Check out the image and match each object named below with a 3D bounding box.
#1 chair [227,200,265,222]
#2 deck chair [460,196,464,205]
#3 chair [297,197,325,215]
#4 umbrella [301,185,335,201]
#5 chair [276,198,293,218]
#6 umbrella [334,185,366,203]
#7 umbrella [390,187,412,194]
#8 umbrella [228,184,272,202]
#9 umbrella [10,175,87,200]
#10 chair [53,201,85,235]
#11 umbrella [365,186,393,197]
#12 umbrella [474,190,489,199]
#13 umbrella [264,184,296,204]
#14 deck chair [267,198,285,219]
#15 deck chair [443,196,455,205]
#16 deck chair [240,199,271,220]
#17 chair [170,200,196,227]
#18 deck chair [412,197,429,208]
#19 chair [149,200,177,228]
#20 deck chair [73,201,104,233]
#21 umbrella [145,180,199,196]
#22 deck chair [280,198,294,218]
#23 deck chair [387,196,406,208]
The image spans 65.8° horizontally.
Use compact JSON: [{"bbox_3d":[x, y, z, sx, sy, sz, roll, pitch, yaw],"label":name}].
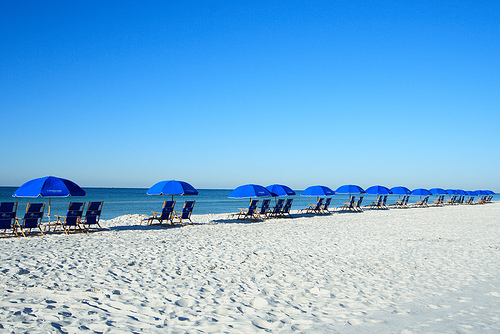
[{"bbox_3d":[-0.272,1.970,17.520,1.443,0.726,0.810,-10,-5,25],"label":"chair"},{"bbox_3d":[19.436,2.973,35.562,0.368,1.194,0.236,18,-22,-25],"label":"deck chair"},{"bbox_3d":[3.133,2.082,20.591,1.865,0.997,1.083,-4,-7,38],"label":"chair"},{"bbox_3d":[3.395,1.313,19.614,1.586,0.836,1.583,3,5,8],"label":"umbrella"},{"bbox_3d":[1.842,1.939,18.921,0.957,0.962,0.765,-2,-4,-9],"label":"chair"},{"bbox_3d":[5.636,1.294,22.090,1.399,0.617,1.443,3,5,12],"label":"umbrella"},{"bbox_3d":[9.140,1.490,23.694,1.731,0.440,1.524,0,-6,2],"label":"umbrella"},{"bbox_3d":[-0.046,1.057,16.330,1.519,0.787,1.282,-2,-4,-8],"label":"umbrella"},{"bbox_3d":[-6.561,0.636,12.632,2.023,0.589,1.906,4,-3,-34],"label":"umbrella"},{"bbox_3d":[-5.741,1.665,12.442,0.630,1.028,0.949,0,6,-19],"label":"chair"},{"bbox_3d":[7.964,1.487,24.314,1.277,0.768,2.434,4,5,25],"label":"umbrella"},{"bbox_3d":[22.539,2.566,37.882,0.616,0.569,2.853,7,7,43],"label":"umbrella"},{"bbox_3d":[1.347,1.187,17.964,1.459,0.733,1.247,1,-4,7],"label":"umbrella"},{"bbox_3d":[1.357,2.055,18.945,0.802,1.019,0.959,5,-8,-44],"label":"deck chair"},{"bbox_3d":[17.808,3.021,34.694,1.044,0.778,0.845,3,-7,8],"label":"deck chair"},{"bbox_3d":[0.626,1.966,17.515,1.169,0.921,0.775,-10,-13,34],"label":"deck chair"},{"bbox_3d":[-2.487,1.857,15.279,0.589,0.729,0.846,10,-25,0],"label":"chair"},{"bbox_3d":[13.678,2.813,30.459,1.309,1.090,0.897,0,-6,-15],"label":"deck chair"},{"bbox_3d":[-3.374,1.806,14.533,0.921,0.962,0.834,1,-11,-39],"label":"chair"},{"bbox_3d":[-5.403,1.619,12.806,0.864,0.916,0.674,-8,-7,26],"label":"deck chair"},{"bbox_3d":[-2.968,0.835,14.775,1.751,0.763,1.492,-1,6,-28],"label":"umbrella"},{"bbox_3d":[1.809,2.013,18.935,1.036,1.004,0.796,-4,-6,3],"label":"deck chair"},{"bbox_3d":[10.758,2.661,28.137,1.017,0.749,2.505,4,5,19],"label":"deck chair"}]
